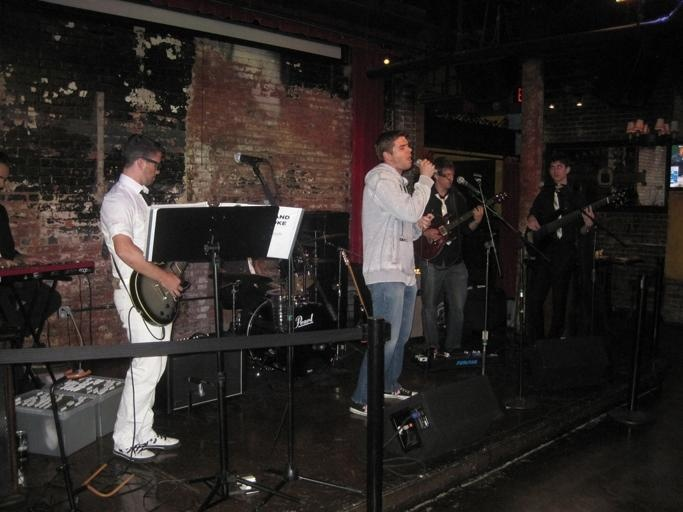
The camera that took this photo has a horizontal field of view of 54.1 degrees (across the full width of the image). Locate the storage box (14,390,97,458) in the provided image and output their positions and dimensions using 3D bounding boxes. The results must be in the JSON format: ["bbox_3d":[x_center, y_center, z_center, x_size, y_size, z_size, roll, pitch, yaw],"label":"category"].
[{"bbox_3d":[-2.374,1.309,5.421,0.557,0.339,0.430,8,6,30],"label":"storage box"}]

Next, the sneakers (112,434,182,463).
[{"bbox_3d":[-1.524,1.476,5.293,0.542,0.213,0.178,-2,5,-25],"label":"sneakers"}]

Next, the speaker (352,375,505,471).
[{"bbox_3d":[0.668,1.153,5.366,0.699,0.434,0.897,-29,-19,32],"label":"speaker"}]

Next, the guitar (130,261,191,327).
[{"bbox_3d":[-1.377,0.298,5.057,0.450,0.501,0.257,-3,8,-31],"label":"guitar"}]

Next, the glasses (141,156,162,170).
[{"bbox_3d":[-1.475,-0.717,5.135,0.097,0.029,0.098,20,7,23],"label":"glasses"}]

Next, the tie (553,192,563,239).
[{"bbox_3d":[2.517,-0.474,7.797,0.059,0.533,0.077,6,-14,-35],"label":"tie"}]

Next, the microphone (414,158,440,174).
[{"bbox_3d":[0.737,-0.782,5.914,0.152,0.142,0.363,3,7,11],"label":"microphone"}]

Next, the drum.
[{"bbox_3d":[-0.527,0.834,7.282,0.897,0.912,0.874,-1,2,-40],"label":"drum"}]

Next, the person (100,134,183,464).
[{"bbox_3d":[-1.530,0.329,5.116,0.567,2.474,0.634,-1,7,-20],"label":"person"}]

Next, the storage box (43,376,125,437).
[{"bbox_3d":[-2.155,1.196,5.675,0.556,0.349,0.561,5,7,23],"label":"storage box"}]

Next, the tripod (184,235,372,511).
[{"bbox_3d":[-0.245,1.011,4.521,1.054,1.422,1.054,2,7,3],"label":"tripod"}]
